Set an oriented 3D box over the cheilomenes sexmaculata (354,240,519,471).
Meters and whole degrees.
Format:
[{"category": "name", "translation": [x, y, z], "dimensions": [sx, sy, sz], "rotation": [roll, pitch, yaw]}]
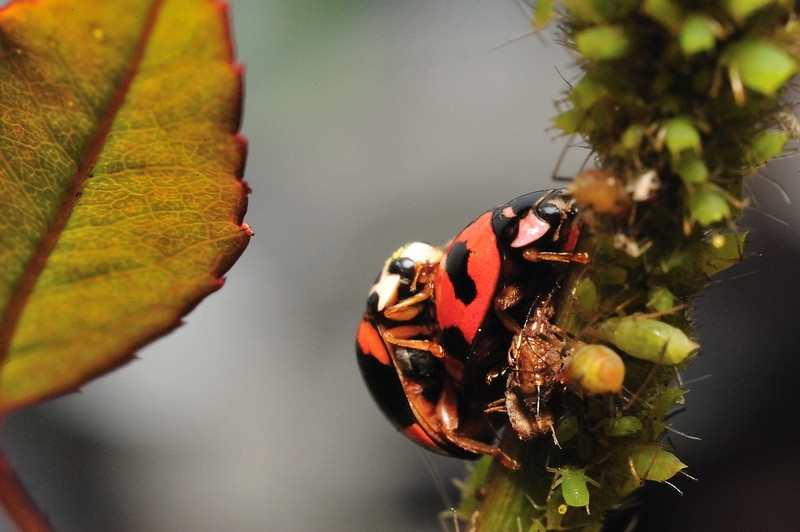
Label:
[{"category": "cheilomenes sexmaculata", "translation": [0.093, 0.130, 1.329], "dimensions": [0.106, 0.314, 0.250], "rotation": [-10, -12, -34]}]
